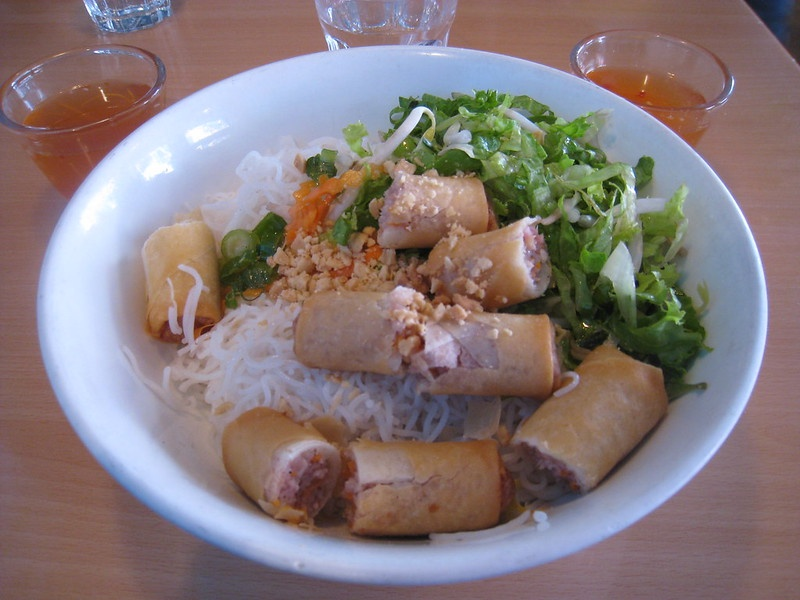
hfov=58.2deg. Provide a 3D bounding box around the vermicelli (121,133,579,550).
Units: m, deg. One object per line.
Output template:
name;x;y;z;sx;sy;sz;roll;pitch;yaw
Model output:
vermicelli;-0.505;0.167;2.607;1.233;0.454;1.480;1;57;-2

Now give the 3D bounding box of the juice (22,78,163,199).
juice;-1.279;-0.763;3.012;0.519;0.369;0.482;-26;57;-23

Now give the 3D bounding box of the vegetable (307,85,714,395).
vegetable;0.598;-0.313;2.641;1.061;0.486;1.239;-17;72;-11
